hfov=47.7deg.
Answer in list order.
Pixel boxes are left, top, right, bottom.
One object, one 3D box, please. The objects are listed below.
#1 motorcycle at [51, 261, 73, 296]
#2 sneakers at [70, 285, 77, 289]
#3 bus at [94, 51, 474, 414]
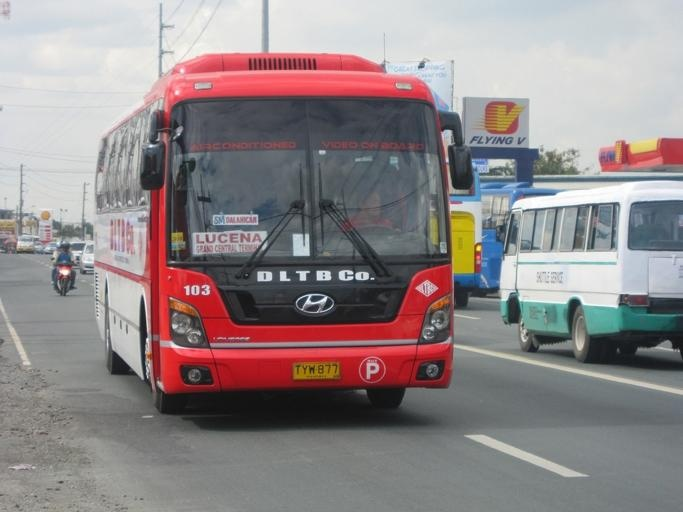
[{"bbox_3d":[-11.065,0.956,30.816,0.662,1.279,0.928,-2,5,-30],"label":"motorcycle"},{"bbox_3d":[-11.172,1.301,32.103,0.262,0.162,0.389,1,3,-13],"label":"sneakers"},{"bbox_3d":[-1.224,0.071,10.869,2.387,3.138,6.500,0,-6,-16],"label":"bus"}]
